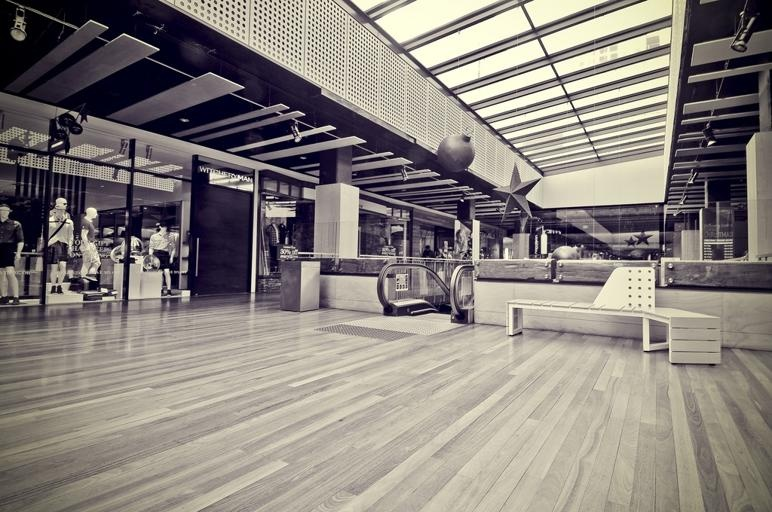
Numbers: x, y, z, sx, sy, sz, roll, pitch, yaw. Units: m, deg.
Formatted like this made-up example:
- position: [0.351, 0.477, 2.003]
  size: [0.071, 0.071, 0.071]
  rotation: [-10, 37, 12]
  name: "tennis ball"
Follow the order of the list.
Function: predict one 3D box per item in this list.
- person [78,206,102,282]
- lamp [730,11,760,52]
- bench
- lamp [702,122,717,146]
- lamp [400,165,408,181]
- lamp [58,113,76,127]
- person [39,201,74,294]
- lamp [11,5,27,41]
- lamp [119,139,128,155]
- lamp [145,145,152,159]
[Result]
- position: [-6.089, -0.225, 11.134]
  size: [0.162, 1.497, 0.406]
  rotation: [6, 8, 42]
  name: "person"
- position: [5.130, -3.220, 7.792]
  size: [0.287, 0.541, 0.440]
  rotation: [4, 7, 31]
  name: "lamp"
- position: [3.429, 0.772, 7.851]
  size: [2.449, 1.182, 0.712]
  rotation: [5, 7, 37]
  name: "bench"
- position: [6.484, -2.453, 10.910]
  size: [0.134, 0.277, 0.401]
  rotation: [-17, -45, 18]
  name: "lamp"
- position: [0.491, -2.189, 14.451]
  size: [0.107, 0.288, 0.217]
  rotation: [-10, 8, -44]
  name: "lamp"
- position: [-5.945, -2.517, 10.153]
  size: [0.262, 0.142, 0.263]
  rotation: [20, -9, 28]
  name: "lamp"
- position: [-6.429, -0.185, 10.722]
  size: [0.165, 1.860, 0.519]
  rotation: [4, 7, 27]
  name: "person"
- position: [-5.545, -3.457, 8.204]
  size: [0.198, 0.514, 0.736]
  rotation: [-3, 7, -32]
  name: "lamp"
- position: [-5.531, -2.279, 11.485]
  size: [0.058, 0.319, 0.207]
  rotation: [5, 7, 37]
  name: "lamp"
- position: [-5.190, -2.250, 11.919]
  size: [0.139, 0.289, 0.080]
  rotation: [-4, 8, -39]
  name: "lamp"
